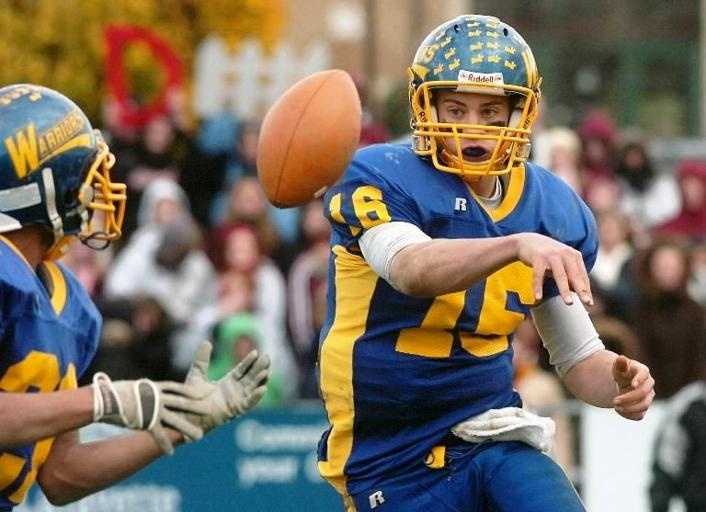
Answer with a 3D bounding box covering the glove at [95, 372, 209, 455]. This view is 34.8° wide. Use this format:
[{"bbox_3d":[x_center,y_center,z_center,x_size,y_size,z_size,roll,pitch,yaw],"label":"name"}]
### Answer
[{"bbox_3d":[-0.874,0.665,4.780,0.412,0.324,0.184,7,-31,-22],"label":"glove"}]
